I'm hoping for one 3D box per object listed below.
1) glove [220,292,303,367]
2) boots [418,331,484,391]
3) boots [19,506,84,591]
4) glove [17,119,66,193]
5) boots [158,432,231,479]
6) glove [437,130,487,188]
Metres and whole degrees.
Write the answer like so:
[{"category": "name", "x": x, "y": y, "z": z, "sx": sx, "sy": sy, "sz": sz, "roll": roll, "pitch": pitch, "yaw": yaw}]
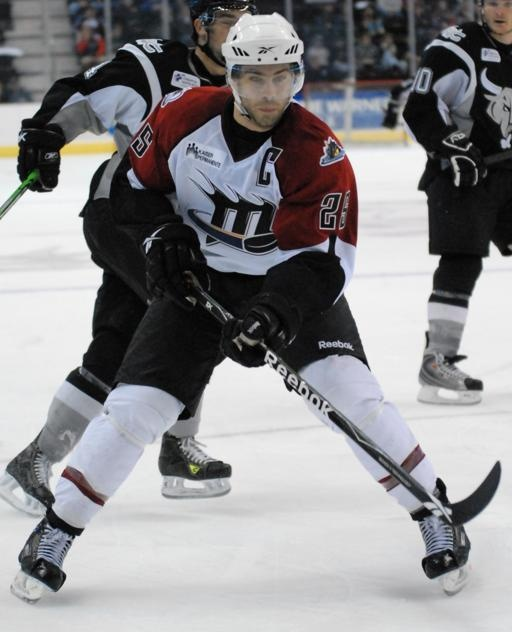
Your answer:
[{"category": "glove", "x": 0.022, "y": 0.017, "z": 1.450, "sx": 0.129, "sy": 0.073, "sz": 0.169, "roll": 44, "pitch": 63, "yaw": 12}, {"category": "boots", "x": 0.742, "y": 0.185, "z": 2.759, "sx": 0.120, "sy": 0.189, "sz": 0.313, "roll": -5, "pitch": 9, "yaw": -25}, {"category": "boots", "x": -0.379, "y": 0.432, "z": 1.419, "sx": 0.110, "sy": 0.068, "sz": 0.218, "roll": -41, "pitch": 16, "yaw": 8}, {"category": "glove", "x": -0.667, "y": -0.498, "z": 2.242, "sx": 0.202, "sy": 0.208, "sz": 0.091, "roll": 4, "pitch": 27, "yaw": -14}, {"category": "boots", "x": -0.164, "y": 0.399, "z": 2.075, "sx": 0.119, "sy": 0.128, "sz": 0.318, "roll": -7, "pitch": -2, "yaw": -33}, {"category": "glove", "x": 0.741, "y": -0.558, "z": 2.685, "sx": 0.113, "sy": 0.213, "sz": 0.166, "roll": -14, "pitch": 32, "yaw": 50}]
